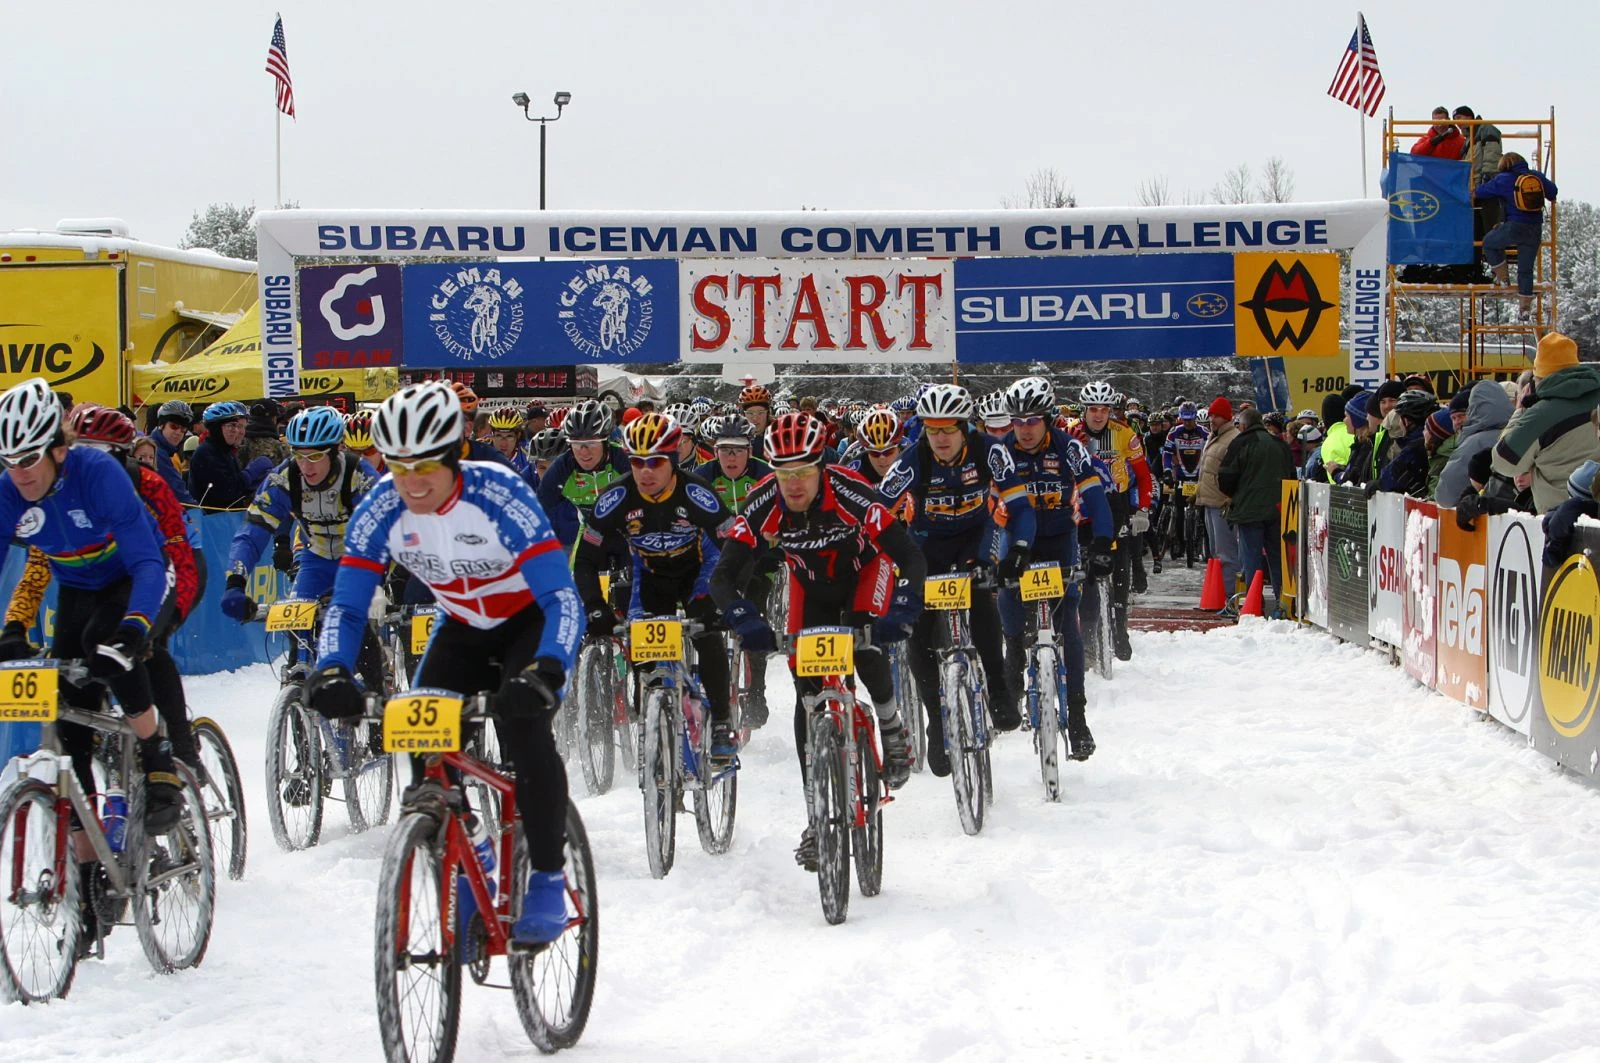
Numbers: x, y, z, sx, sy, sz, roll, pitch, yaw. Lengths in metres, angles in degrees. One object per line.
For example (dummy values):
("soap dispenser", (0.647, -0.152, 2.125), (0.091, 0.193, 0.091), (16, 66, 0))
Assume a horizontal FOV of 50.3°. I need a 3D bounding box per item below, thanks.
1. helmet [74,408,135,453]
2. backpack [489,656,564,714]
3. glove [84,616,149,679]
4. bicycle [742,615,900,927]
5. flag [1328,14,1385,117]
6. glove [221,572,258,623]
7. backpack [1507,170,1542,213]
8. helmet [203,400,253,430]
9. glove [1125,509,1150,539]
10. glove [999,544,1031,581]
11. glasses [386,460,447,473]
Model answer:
("helmet", (-4.737, -0.685, 11.561), (0.322, 0.332, 0.250), (16, 7, -14))
("backpack", (-1.369, 0.761, 8.514), (0.303, 0.242, 0.111), (-16, 35, -38))
("glove", (-3.788, 0.647, 9.455), (0.327, 0.374, 0.341), (-5, 9, -28))
("bicycle", (0.235, 1.466, 10.635), (0.459, 1.795, 0.881), (2, 8, 22))
("flag", (8.040, -6.727, 24.654), (0.682, 1.500, 1.922), (1, 8, 18))
("glove", (-3.977, 0.479, 12.211), (0.164, 0.454, 0.306), (-1, -3, -33))
("backpack", (9.766, -4.547, 22.778), (0.442, 0.536, 0.306), (-4, 8, -21))
("helmet", (-6.133, -1.199, 17.935), (0.460, 0.204, 0.357), (-6, 3, 29))
("glove", (3.298, -0.080, 16.561), (0.161, 0.241, 0.090), (-7, -23, 34))
("glove", (1.561, 0.225, 12.449), (0.079, 0.257, 0.171), (28, -24, -24))
("glasses", (-1.939, -0.332, 8.584), (0.244, 0.066, 0.128), (-3, 8, -11))
